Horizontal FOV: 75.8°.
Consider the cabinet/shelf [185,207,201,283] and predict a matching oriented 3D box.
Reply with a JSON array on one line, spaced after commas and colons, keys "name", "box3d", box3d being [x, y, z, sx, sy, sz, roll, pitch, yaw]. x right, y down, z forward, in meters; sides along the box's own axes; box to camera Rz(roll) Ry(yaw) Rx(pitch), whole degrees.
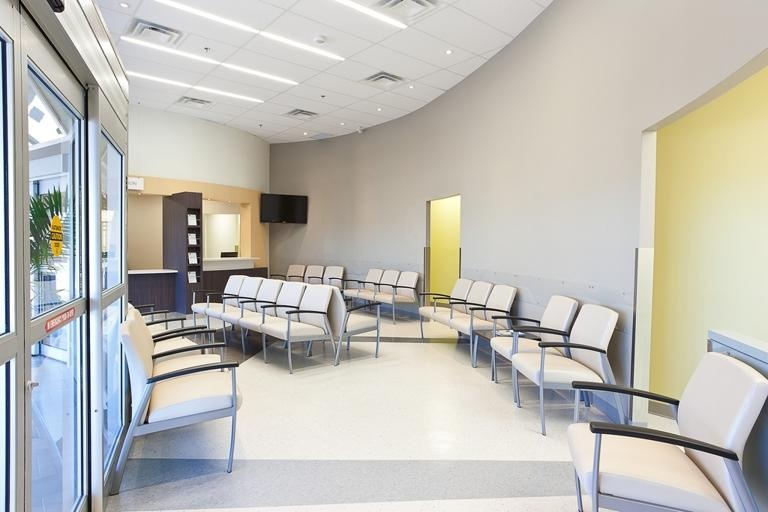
[{"name": "cabinet/shelf", "box3d": [-3.782, -0.275, 9.803, 0.283, 1.458, 0.117, 1, -18, -24]}]
